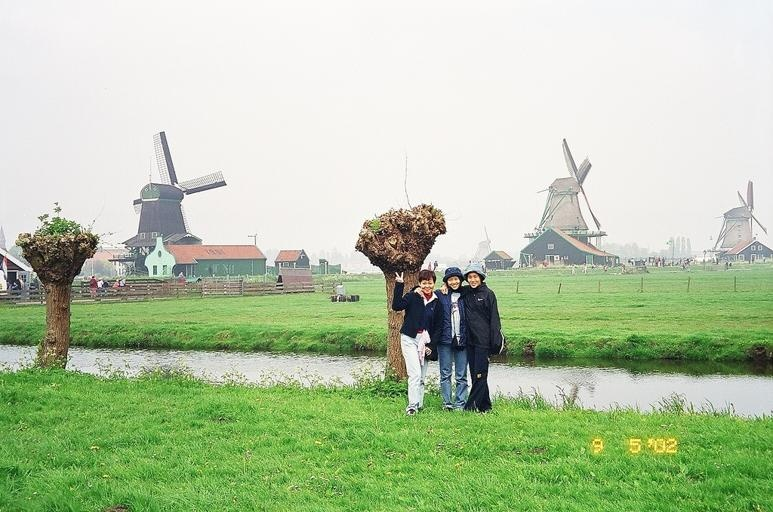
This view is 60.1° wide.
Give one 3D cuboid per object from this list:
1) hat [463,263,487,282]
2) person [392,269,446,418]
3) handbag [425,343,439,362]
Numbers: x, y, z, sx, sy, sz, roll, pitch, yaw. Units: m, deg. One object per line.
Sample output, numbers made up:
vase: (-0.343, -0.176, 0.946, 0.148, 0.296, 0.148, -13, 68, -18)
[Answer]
hat: (2.356, 0.402, 17.567, 0.408, 0.392, 0.535, 5, 4, 12)
person: (0.770, 2.246, 17.618, 1.182, 3.755, 1.009, 0, -5, 1)
handbag: (1.188, 2.538, 17.607, 0.319, 0.404, 0.431, -1, 3, 2)
